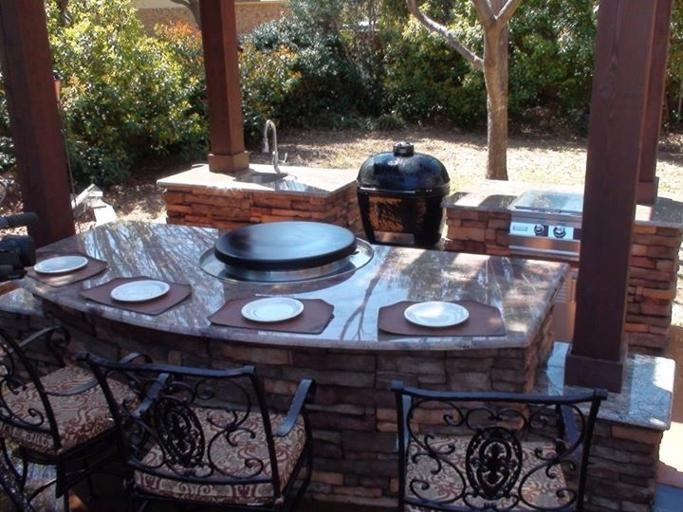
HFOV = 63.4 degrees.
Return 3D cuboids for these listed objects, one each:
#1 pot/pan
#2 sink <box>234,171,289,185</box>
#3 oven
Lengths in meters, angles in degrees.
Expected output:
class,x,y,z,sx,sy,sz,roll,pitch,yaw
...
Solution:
class,x,y,z,sx,sy,sz,roll,pitch,yaw
pot/pan,0.544,-0.625,4.956,0.774,0.953,0.691,15,21,34
sink,-0.818,-0.768,5.591,0.527,0.122,0.454,-2,19,6
oven,1.631,0.225,4.426,0.509,0.792,0.474,10,17,28
